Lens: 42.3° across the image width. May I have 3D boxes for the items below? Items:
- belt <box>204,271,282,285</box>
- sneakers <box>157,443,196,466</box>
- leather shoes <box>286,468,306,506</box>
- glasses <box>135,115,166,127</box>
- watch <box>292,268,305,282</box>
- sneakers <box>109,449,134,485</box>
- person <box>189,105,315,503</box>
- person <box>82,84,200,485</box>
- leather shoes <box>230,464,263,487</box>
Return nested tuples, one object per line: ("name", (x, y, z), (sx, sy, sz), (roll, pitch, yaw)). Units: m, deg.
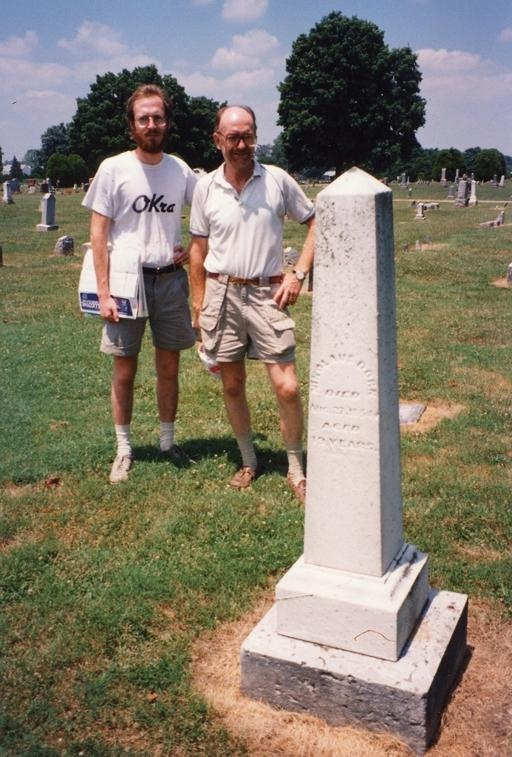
("belt", (-0.070, -0.567, 3.845), (0.437, 0.068, 0.155), (2, 12, 7))
("sneakers", (-0.579, 0.568, 4.797), (0.113, 0.119, 0.295), (-28, 27, -32))
("leather shoes", (0.265, 0.697, 4.167), (0.091, 0.179, 0.065), (-3, -24, -5))
("glasses", (-0.634, -1.552, 4.035), (0.195, 0.083, 0.121), (-3, 12, -16))
("watch", (0.236, -0.581, 3.730), (0.090, 0.055, 0.083), (32, 13, -7))
("sneakers", (-0.923, 0.622, 4.492), (0.084, 0.107, 0.249), (3, 13, -5))
("person", (-0.021, -0.361, 3.930), (0.721, 2.285, 0.638), (-1, 12, -7))
("person", (-0.723, -0.602, 4.429), (0.641, 2.537, 0.684), (3, 12, 16))
("leather shoes", (-0.086, 0.647, 4.394), (0.098, 0.078, 0.175), (1, 8, 23))
